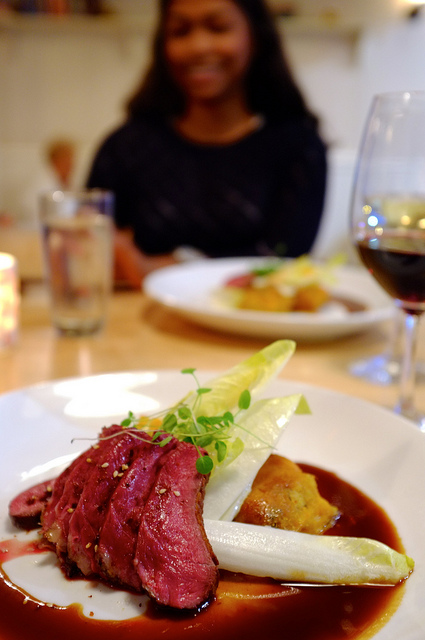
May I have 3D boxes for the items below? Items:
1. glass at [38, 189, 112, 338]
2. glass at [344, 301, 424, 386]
[{"bbox_3d":[-0.336,-0.147,1.400,0.153,0.351,0.177,6,22,10],"label":"glass"},{"bbox_3d":[0.373,0.047,1.226,0.184,0.173,0.187,1,8,-4],"label":"glass"}]
